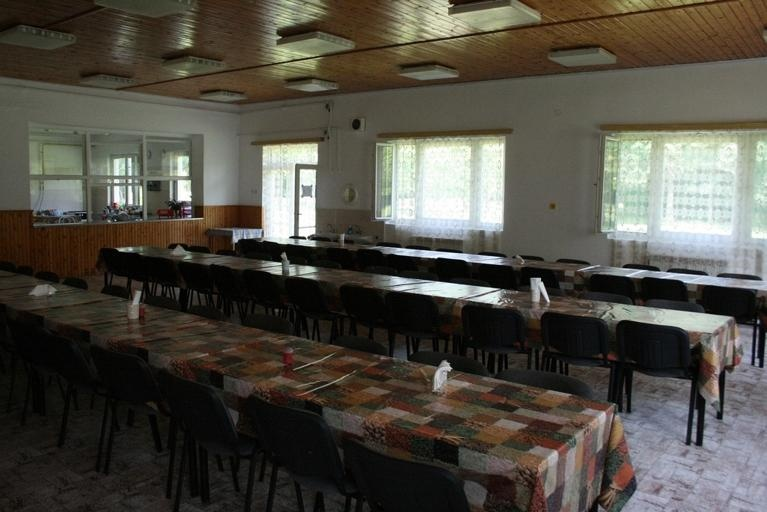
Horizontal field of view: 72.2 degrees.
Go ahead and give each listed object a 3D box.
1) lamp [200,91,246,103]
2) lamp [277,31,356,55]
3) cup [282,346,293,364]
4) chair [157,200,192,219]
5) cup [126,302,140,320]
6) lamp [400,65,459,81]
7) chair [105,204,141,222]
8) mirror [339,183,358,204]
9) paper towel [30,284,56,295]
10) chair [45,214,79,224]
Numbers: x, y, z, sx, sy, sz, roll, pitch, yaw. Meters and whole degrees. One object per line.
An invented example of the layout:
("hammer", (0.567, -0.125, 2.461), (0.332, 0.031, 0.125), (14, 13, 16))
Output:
("lamp", (-3.479, -3.510, 11.405), (0.696, 0.161, 0.908), (-6, 7, -40))
("lamp", (-1.002, -3.044, 7.516), (1.021, 0.150, 0.679), (1, 6, 23))
("cup", (-0.731, 0.754, 3.975), (0.079, 0.128, 0.082), (0, 16, 0))
("chair", (-5.187, -1.150, 13.144), (0.455, 0.356, 0.648), (-2, -3, 36))
("cup", (-2.300, 0.511, 4.880), (0.137, 0.194, 0.163), (2, 1, -17))
("lamp", (0.739, -3.225, 9.173), (0.936, 0.170, 0.618), (1, 6, 22))
("chair", (-5.977, -1.012, 12.073), (0.836, 0.414, 0.288), (-5, 7, -32))
("mirror", (-0.814, -1.466, 12.367), (0.432, 0.477, 0.077), (3, 8, 37))
("paper towel", (-3.681, 0.373, 5.662), (0.152, 0.046, 0.165), (5, 7, 41))
("chair", (-6.844, -0.799, 11.204), (0.592, 0.178, 0.108), (-4, 7, -30))
